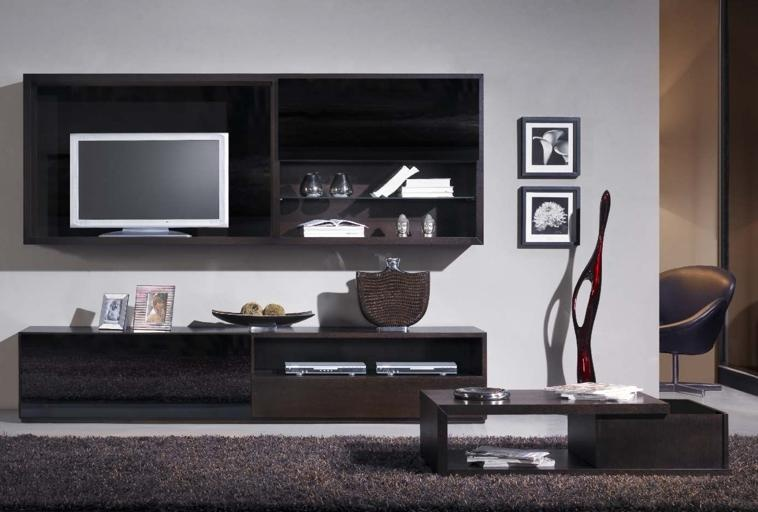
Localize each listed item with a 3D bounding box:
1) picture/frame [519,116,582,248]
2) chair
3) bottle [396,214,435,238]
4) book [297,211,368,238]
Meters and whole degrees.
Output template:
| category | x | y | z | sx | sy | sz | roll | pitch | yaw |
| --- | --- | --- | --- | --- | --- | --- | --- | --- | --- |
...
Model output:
| category | x | y | z | sx | sy | sz | roll | pitch | yaw |
| --- | --- | --- | --- | --- | --- | --- | --- | --- | --- |
| picture/frame | 1.356 | -0.586 | 6.388 | 0.494 | 1.029 | 0.175 | 0 | 9 | -4 |
| chair | 2.807 | 0.680 | 7.120 | 0.622 | 1.116 | 0.771 | 3 | 9 | 19 |
| bottle | 0.289 | -0.238 | 6.271 | 0.322 | 0.175 | 0.255 | 1 | 9 | 5 |
| book | -0.371 | -0.214 | 6.224 | 0.510 | 0.132 | 0.157 | -1 | 9 | -4 |
